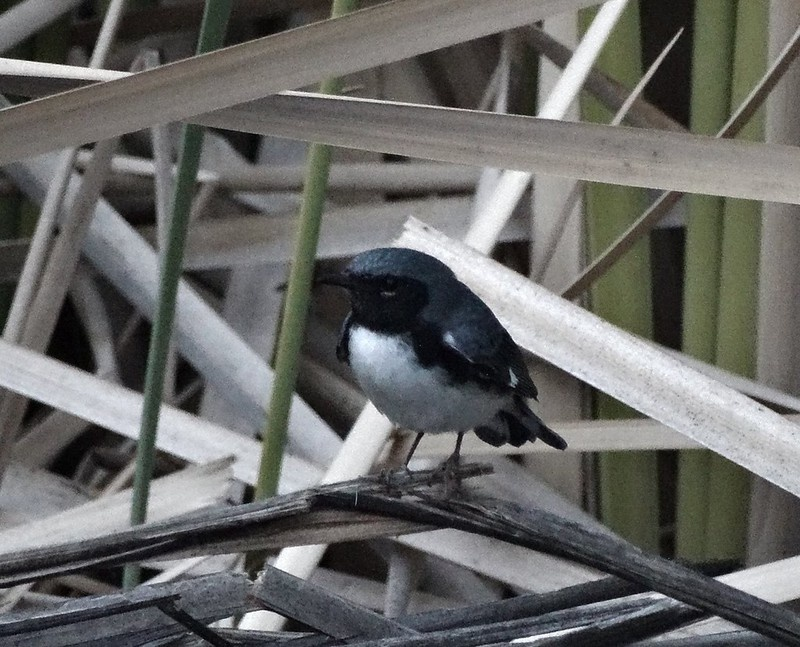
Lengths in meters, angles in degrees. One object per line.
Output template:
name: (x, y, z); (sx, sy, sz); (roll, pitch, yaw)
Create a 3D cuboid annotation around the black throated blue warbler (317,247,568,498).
black throated blue warbler: (0.093, 0.089, 3.951); (0.331, 0.513, 0.640); (3, 2, 42)
